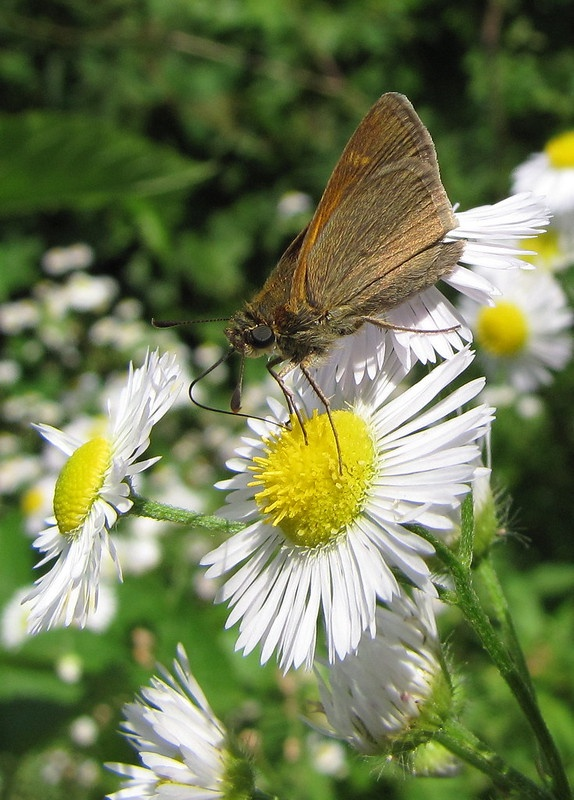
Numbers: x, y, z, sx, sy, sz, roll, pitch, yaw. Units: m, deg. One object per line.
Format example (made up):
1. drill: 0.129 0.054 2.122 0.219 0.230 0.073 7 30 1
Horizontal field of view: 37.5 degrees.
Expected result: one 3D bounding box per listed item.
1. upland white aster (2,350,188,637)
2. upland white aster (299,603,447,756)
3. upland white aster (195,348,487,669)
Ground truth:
1. upland white aster: -0.309 0.155 1.348 0.201 0.500 0.448 16 90 -10
2. upland white aster: 0.135 0.402 1.296 0.144 0.224 0.219 31 86 -9
3. upland white aster: 0.157 0.159 1.301 0.220 0.517 0.470 19 58 -38
